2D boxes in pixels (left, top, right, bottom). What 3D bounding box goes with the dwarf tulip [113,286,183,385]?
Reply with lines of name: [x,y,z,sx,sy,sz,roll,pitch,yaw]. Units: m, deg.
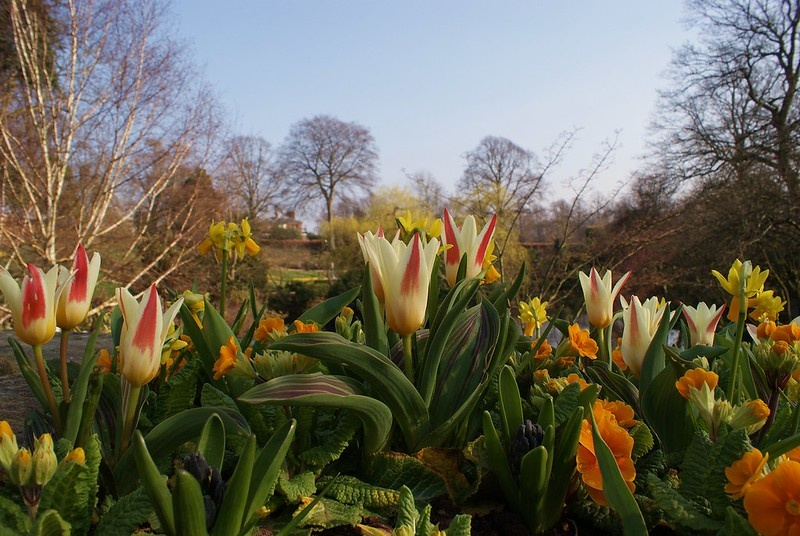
dwarf tulip: [-0.801,0.201,1.704,0.145,0.363,0.161,-2,-5,26]

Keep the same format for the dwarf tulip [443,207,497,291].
dwarf tulip: [0.275,-0.079,2.139,0.259,0.280,0.237,11,-1,15]

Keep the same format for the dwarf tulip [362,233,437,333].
dwarf tulip: [-0.002,0.050,1.899,0.270,0.336,0.214,3,0,36]
